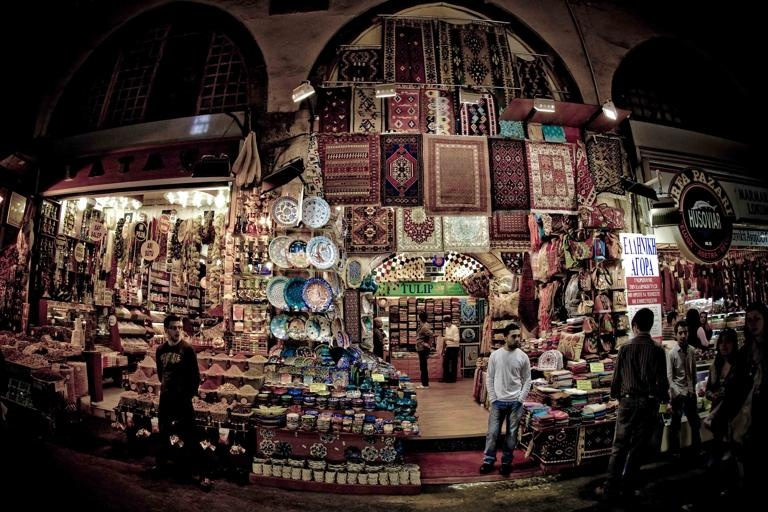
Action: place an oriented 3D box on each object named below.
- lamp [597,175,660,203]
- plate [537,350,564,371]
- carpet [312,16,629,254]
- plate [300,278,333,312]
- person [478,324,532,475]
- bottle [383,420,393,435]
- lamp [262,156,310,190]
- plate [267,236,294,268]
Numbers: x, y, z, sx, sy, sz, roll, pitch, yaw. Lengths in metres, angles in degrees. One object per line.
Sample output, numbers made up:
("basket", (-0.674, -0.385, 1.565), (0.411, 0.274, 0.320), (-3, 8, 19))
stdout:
("lamp", (4.819, -1.301, 10.682), (0.559, 0.315, 0.957), (19, -14, -37))
("plate", (3.052, 1.919, 10.033), (0.480, 0.376, 0.270), (-3, -11, 26))
("carpet", (1.777, -2.662, 10.897), (5.331, 4.233, 0.738), (1, -11, -9))
("plate", (-1.222, 0.699, 9.938), (0.549, 0.597, 0.211), (3, -10, -9))
("person", (2.067, 2.402, 9.292), (0.828, 2.482, 0.313), (-1, -10, 12))
("bottle", (0.076, 2.811, 8.886), (0.175, 0.117, 0.169), (0, -9, 0))
("lamp", (-1.874, -1.485, 10.066), (0.637, 0.188, 0.727), (-23, -8, 9))
("plate", (-1.942, -0.079, 10.105), (0.413, 0.590, 0.238), (4, -10, -12))
